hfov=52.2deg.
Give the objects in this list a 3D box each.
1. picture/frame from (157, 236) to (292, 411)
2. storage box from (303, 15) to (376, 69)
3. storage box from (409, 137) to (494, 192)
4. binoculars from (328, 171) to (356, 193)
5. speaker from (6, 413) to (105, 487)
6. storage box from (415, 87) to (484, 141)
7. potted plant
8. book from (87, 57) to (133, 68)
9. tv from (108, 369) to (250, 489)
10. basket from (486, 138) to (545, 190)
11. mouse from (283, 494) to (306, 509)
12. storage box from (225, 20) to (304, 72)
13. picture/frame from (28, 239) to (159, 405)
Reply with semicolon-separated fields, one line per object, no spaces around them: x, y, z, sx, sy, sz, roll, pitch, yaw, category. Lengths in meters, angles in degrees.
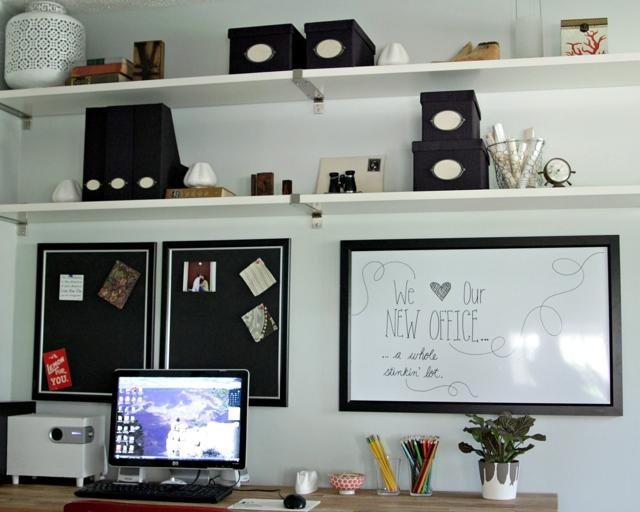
-0.381;0.305;2.776;0.698;0.932;0.035;0;-8;5;picture/frame
0.058;-0.829;2.608;0.186;0.159;0.253;1;4;16;storage box
0.540;-0.353;2.646;0.367;0.196;0.366;3;3;42;storage box
0.091;-0.303;2.675;0.100;0.086;0.040;0;-8;6;binoculars
-1.097;0.776;2.834;0.440;0.361;0.250;-1;-11;9;speaker
0.510;-0.602;2.615;0.236;0.199;0.258;-6;32;3;storage box
0.699;0.774;2.518;0.374;0.317;0.295;-10;-21;32;potted plant
-0.892;-0.827;2.788;0.105;0.027;0.103;1;3;2;book
-0.554;0.686;2.613;0.451;0.326;0.008;-1;-8;8;tv
0.745;-0.354;2.557;0.197;0.169;0.190;-1;-6;-2;basket
-0.093;0.885;2.354;0.051;0.026;0.074;1;4;2;mouse
-0.209;-0.848;2.787;0.364;0.191;0.378;0;2;-13;storage box
-0.978;0.311;2.902;0.683;0.881;0.057;-1;-4;12;picture/frame
